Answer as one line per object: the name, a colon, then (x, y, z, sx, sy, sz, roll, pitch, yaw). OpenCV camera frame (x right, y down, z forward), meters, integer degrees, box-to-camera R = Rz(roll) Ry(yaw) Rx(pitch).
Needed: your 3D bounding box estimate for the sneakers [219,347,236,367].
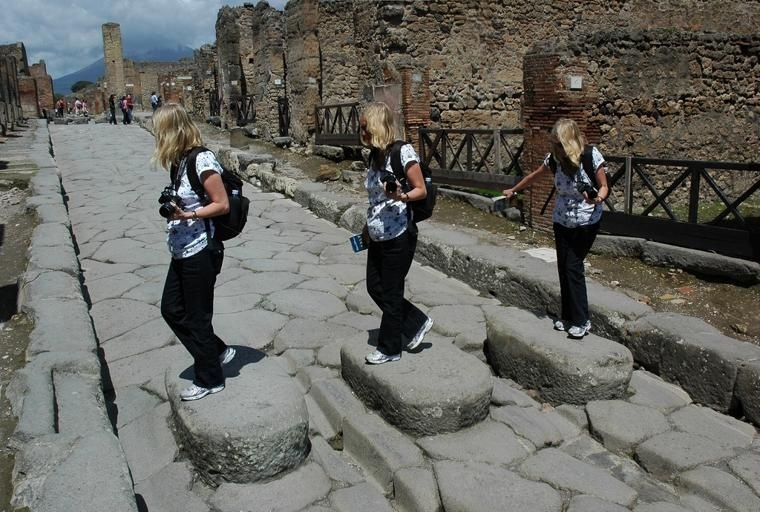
sneakers: (-1.032, 0.684, 3.175, 0.051, 0.061, 0.134, -16, 19, 20)

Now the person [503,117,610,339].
person: (1.534, -0.237, 3.736, 0.493, 1.574, 0.910, 1, 22, 1)

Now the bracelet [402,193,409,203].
bracelet: (0.167, -0.364, 3.016, 0.044, 0.032, 0.045, 16, 29, 21)

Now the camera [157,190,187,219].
camera: (-1.196, -0.294, 2.702, 0.150, 0.152, 0.073, 16, -26, -1)

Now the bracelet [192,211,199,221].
bracelet: (-1.055, -0.227, 2.686, 0.028, 0.041, 0.044, 6, -16, -14)

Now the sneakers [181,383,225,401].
sneakers: (-1.101, 0.839, 2.917, 0.260, 0.110, 0.092, -4, 10, -16)

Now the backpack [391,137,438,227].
backpack: (0.220, -0.480, 3.149, 0.318, 0.545, 0.245, 1, 22, 2)

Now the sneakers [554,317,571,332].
sneakers: (1.474, 0.560, 3.785, 0.118, 0.080, 0.200, -2, 1, 13)

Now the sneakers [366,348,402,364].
sneakers: (0.025, 0.709, 3.307, 0.240, 0.106, 0.098, 1, 10, -9)

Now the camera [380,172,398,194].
camera: (0.058, -0.482, 3.071, 0.108, 0.097, 0.225, 0, 22, -2)

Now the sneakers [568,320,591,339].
sneakers: (1.587, 0.588, 3.726, 0.258, 0.109, 0.095, -7, 9, -35)
